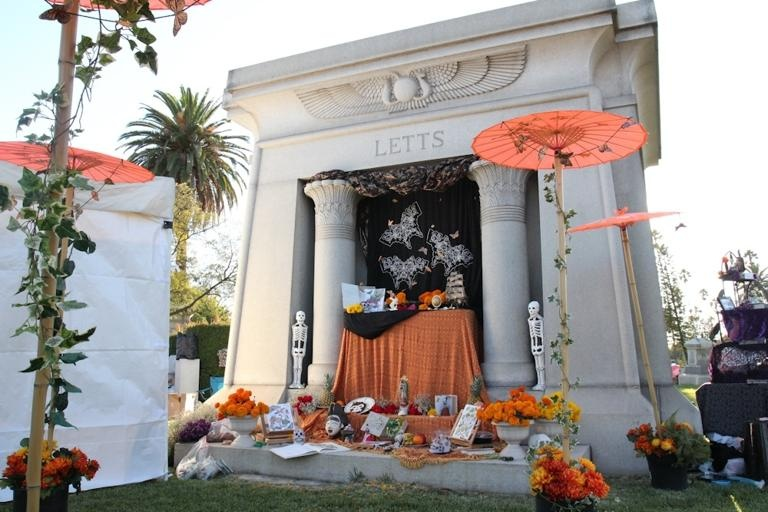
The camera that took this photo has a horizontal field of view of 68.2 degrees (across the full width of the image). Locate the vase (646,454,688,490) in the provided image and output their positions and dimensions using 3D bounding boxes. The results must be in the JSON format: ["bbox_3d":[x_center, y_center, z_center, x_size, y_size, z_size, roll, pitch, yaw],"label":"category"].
[{"bbox_3d":[3.995,3.056,8.114,0.537,0.403,0.474,8,-13,-25],"label":"vase"}]

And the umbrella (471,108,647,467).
[{"bbox_3d":[2.027,0.047,6.345,1.922,3.178,1.238,-3,-12,9],"label":"umbrella"}]

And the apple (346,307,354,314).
[{"bbox_3d":[-0.669,1.054,11.034,0.216,0.157,0.092,-12,-16,42],"label":"apple"}]

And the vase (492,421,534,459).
[{"bbox_3d":[1.914,2.778,8.543,0.545,0.437,0.536,0,-19,4],"label":"vase"}]

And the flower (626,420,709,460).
[{"bbox_3d":[4.086,2.645,8.092,0.721,0.331,0.726,0,3,3],"label":"flower"}]

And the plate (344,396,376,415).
[{"bbox_3d":[-0.460,2.728,10.358,0.564,0.285,0.383,-4,-12,17],"label":"plate"}]

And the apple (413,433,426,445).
[{"bbox_3d":[0.587,3.046,9.422,0.166,0.155,0.307,-5,-12,19],"label":"apple"}]

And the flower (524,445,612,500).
[{"bbox_3d":[1.979,2.406,6.133,0.682,0.377,0.672,3,6,-18],"label":"flower"}]

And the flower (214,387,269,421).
[{"bbox_3d":[-2.349,2.523,9.784,0.710,0.427,0.764,1,-10,3],"label":"flower"}]
